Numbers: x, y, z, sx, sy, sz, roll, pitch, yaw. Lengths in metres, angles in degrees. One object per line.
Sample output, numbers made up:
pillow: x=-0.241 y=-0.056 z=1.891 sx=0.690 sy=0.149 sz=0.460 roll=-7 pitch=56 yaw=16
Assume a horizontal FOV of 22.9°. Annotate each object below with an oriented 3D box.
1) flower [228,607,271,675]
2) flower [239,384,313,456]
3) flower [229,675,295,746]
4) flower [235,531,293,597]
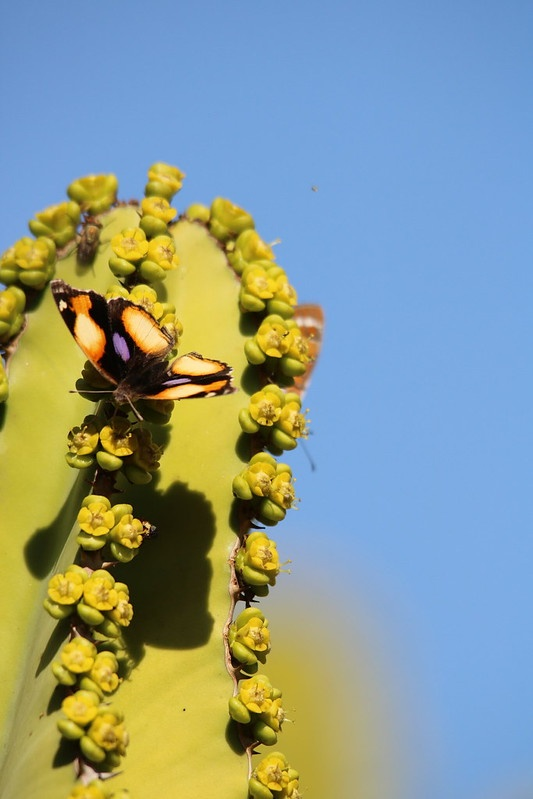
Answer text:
flower: x=-0.021 y=0.779 z=4.333 sx=0.081 sy=0.170 sz=0.153 roll=29 pitch=-12 yaw=-4
flower: x=0.032 y=0.072 z=4.494 sx=0.224 sy=0.120 sz=0.280 roll=-7 pitch=26 yaw=6
flower: x=0.043 y=1.001 z=4.254 sx=0.095 sy=0.177 sz=0.246 roll=-4 pitch=-12 yaw=-43
flower: x=-0.012 y=0.519 z=4.347 sx=0.159 sy=0.170 sz=0.100 roll=10 pitch=-40 yaw=-9
